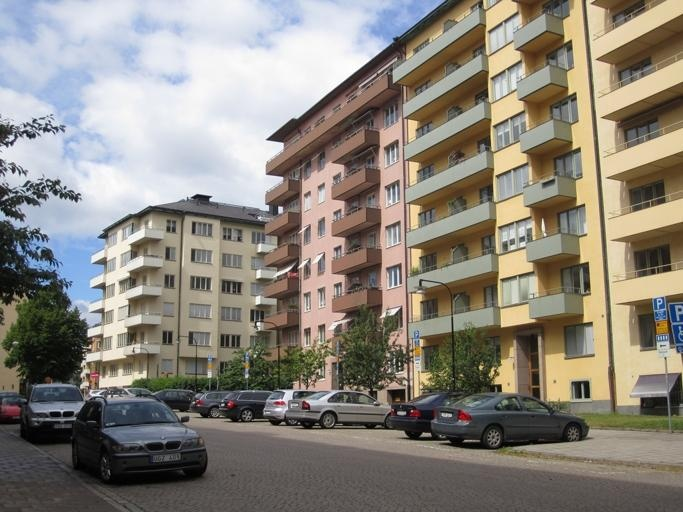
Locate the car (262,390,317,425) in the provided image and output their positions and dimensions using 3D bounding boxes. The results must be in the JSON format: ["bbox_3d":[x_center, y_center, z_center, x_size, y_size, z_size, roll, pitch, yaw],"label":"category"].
[{"bbox_3d":[-2.472,7.612,36.816,2.976,1.245,1.595,3,-8,-28],"label":"car"}]

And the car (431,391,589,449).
[{"bbox_3d":[5.848,5.612,24.703,4.693,1.340,2.040,1,-8,-20],"label":"car"}]

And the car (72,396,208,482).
[{"bbox_3d":[-5.290,4.541,18.141,3.580,2.193,2.007,-15,-23,39],"label":"car"}]

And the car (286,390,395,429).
[{"bbox_3d":[-0.133,7.235,33.814,4.490,1.302,1.982,0,-7,-15],"label":"car"}]
